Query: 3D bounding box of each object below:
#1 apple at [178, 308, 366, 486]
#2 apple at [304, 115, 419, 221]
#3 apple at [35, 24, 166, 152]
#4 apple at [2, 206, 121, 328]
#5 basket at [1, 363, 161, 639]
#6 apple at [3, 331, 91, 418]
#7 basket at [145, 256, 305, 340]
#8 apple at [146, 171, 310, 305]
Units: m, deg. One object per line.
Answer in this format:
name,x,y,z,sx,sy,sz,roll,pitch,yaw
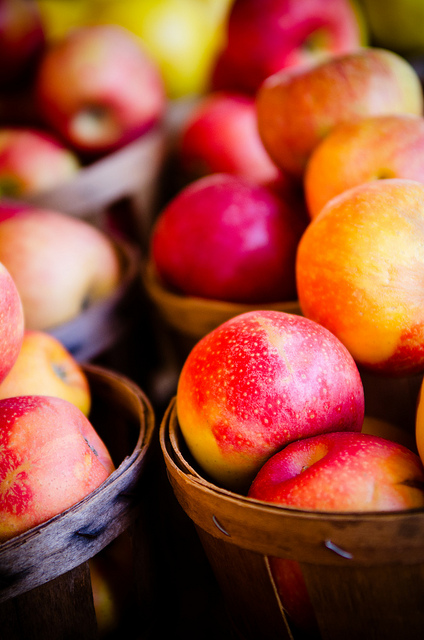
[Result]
apple,0.044,0.074,0.526,0.172,0.140,0.142,15,47,0
apple,0.175,-0.150,0.636,0.134,0.113,0.117,-1,15,38
apple,-0.157,-0.320,0.778,0.174,0.131,0.119,-13,47,-4
apple,-0.165,-0.063,0.753,0.188,0.151,0.150,8,9,-3
basket,-0.067,0.175,0.524,0.183,0.165,0.201,-4,30,-3
apple,-0.160,0.056,0.596,0.079,0.084,0.081,-21,52,9
basket,-0.012,-0.015,0.661,0.101,0.074,0.100,5,38,11
apple,0.026,-0.091,0.704,0.167,0.226,0.173,0,81,16
